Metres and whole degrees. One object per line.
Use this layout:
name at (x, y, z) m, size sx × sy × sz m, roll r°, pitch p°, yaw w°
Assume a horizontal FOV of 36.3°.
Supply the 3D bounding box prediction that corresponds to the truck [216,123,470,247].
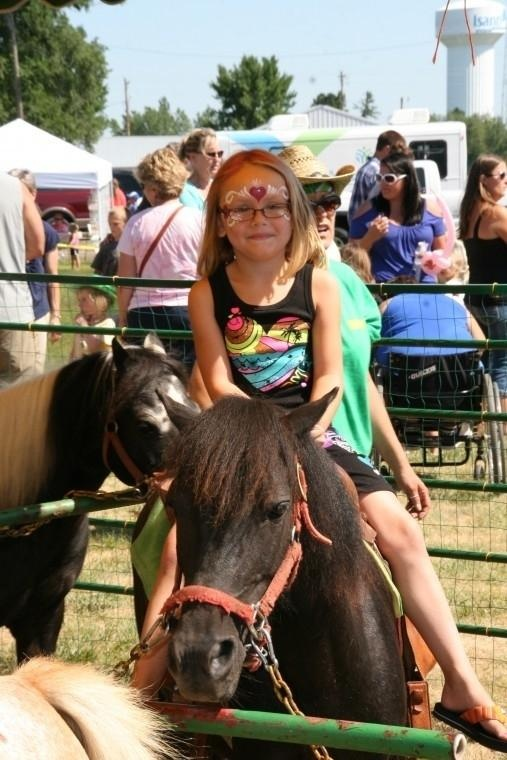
truck at (1.497, -3.755, 15.060) m, size 4.166 × 2.179 × 1.875 m, roll -3°, pitch 3°, yaw 3°

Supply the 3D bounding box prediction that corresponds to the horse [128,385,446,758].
horse at (0.050, 0.451, 1.595) m, size 0.360 × 0.842 × 0.780 m, roll 3°, pitch 8°, yaw 25°

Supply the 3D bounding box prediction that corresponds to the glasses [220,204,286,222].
glasses at (0.018, -0.454, 2.121) m, size 0.166 × 0.049 × 0.042 m, roll 0°, pitch 7°, yaw 0°
